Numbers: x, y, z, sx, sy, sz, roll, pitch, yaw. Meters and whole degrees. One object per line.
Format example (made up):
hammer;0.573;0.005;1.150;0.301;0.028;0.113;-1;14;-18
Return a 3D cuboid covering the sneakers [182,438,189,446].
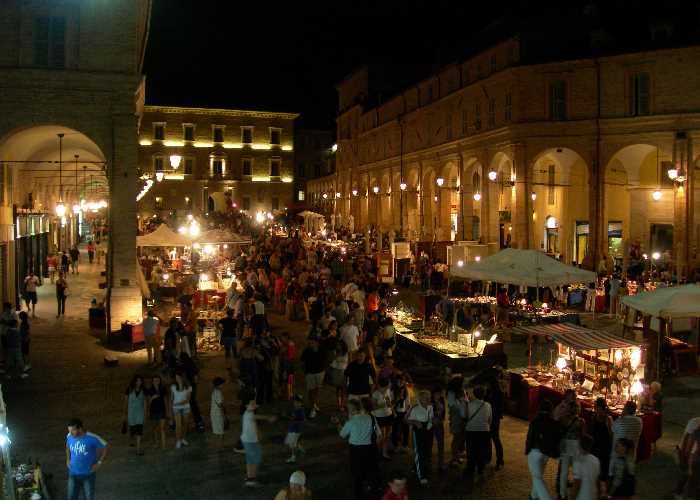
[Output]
sneakers;-3.919;4.538;16.410;0.116;0.124;0.297;1;-7;-23

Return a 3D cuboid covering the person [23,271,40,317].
person;-12.537;1.682;27.166;0.444;1.587;2.502;1;-1;-26

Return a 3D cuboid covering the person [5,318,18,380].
person;-9.808;2.801;20.129;0.407;1.646;0.684;1;-1;-26

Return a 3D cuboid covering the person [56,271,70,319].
person;-11.279;1.709;27.129;0.371;1.598;2.273;1;-1;-22

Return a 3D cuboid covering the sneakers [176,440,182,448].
sneakers;-4.027;4.545;16.272;0.124;0.197;0.150;-20;-19;26
